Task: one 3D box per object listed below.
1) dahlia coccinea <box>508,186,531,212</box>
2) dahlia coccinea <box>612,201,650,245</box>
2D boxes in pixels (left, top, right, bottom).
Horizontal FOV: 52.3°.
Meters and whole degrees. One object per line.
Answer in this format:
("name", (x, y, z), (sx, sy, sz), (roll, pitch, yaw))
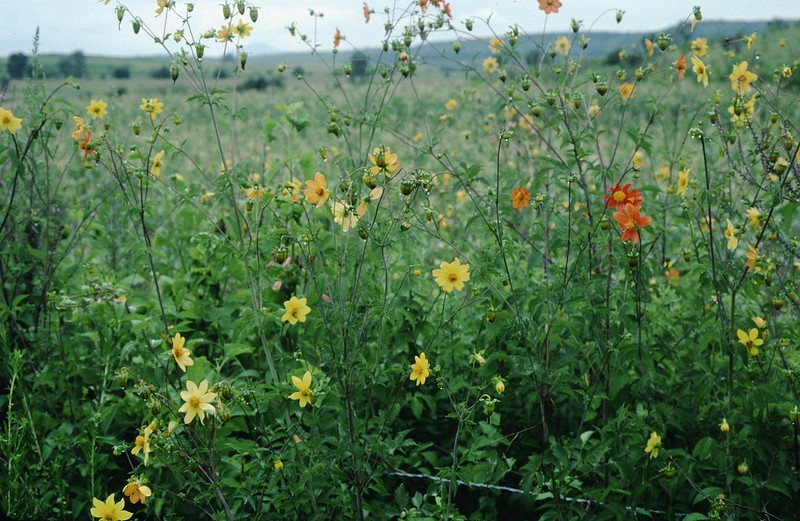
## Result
("dahlia coccinea", (0.740, -0.380, 4.981), (0.124, 0.141, 0.220), (4, 10, 10))
("dahlia coccinea", (1.253, -0.202, 4.427), (0.181, 0.233, 0.073), (-6, -2, 19))
